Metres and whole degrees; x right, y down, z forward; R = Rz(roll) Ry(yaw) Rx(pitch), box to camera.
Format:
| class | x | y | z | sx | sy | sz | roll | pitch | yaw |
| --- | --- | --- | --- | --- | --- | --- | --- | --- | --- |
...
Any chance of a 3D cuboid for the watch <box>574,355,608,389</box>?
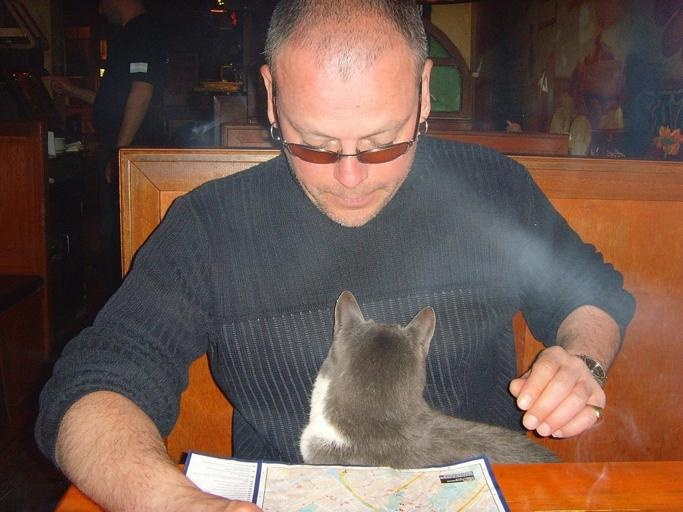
| class | x | y | z | sx | sy | sz | roll | pitch | yaw |
| --- | --- | --- | --- | --- | --- | --- | --- | --- | --- |
| watch | 0.888 | 0.398 | 2.137 | 0.048 | 0.118 | 0.115 | -35 | 19 | 6 |
